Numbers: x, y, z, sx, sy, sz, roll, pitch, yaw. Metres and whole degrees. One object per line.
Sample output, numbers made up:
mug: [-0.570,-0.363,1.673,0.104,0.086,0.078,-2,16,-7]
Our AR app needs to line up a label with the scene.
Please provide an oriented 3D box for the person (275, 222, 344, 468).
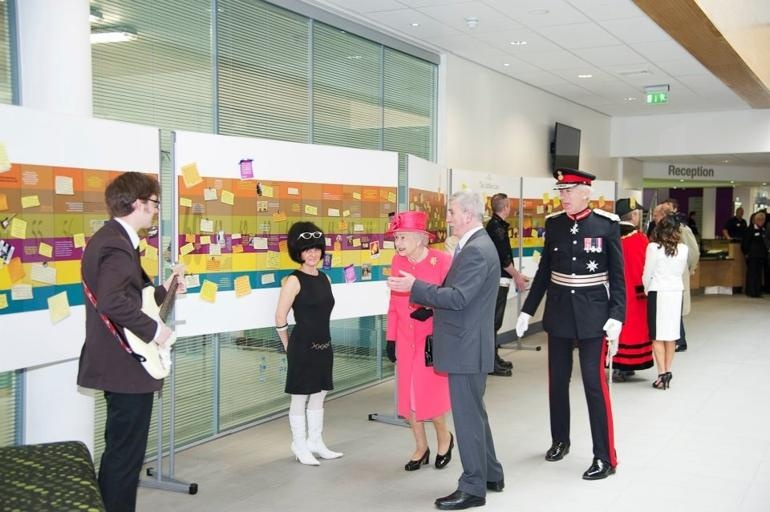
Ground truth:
person: [-0.657,0.740,4.751,0.421,2.077,0.502,1,4,24]

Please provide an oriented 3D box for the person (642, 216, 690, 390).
person: [3.437,0.542,6.795,0.426,2.106,0.382,-3,5,-35]

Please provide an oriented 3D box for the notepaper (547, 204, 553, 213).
notepaper: [2.538,-0.741,8.526,0.125,0.117,0.014,1,5,-39]

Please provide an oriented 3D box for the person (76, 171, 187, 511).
person: [-1.543,0.511,3.288,0.512,2.020,0.434,-3,5,-30]

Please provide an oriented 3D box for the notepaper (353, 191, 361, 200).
notepaper: [-0.273,-0.569,5.201,0.062,0.087,0.006,20,-15,-19]

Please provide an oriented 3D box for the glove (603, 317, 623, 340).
glove: [1.795,0.576,4.361,0.142,0.185,0.137,1,5,23]

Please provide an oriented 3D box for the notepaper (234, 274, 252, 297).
notepaper: [-1.166,0.246,4.539,0.145,0.148,0.048,-12,12,-37]

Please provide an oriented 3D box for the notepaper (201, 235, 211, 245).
notepaper: [-1.410,-0.126,4.336,0.069,0.064,0.018,-3,7,-35]

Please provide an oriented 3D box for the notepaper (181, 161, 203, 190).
notepaper: [-1.493,-0.621,4.238,0.170,0.181,0.026,-34,18,-36]

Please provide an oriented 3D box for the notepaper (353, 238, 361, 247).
notepaper: [-0.274,-0.125,5.250,0.065,0.062,0.017,-1,2,-27]

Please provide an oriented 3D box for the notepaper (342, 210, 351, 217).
notepaper: [-0.356,-0.398,5.154,0.069,0.062,0.016,3,4,-32]

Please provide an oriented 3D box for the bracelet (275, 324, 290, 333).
bracelet: [-0.873,0.595,4.606,0.143,0.047,0.145,0,5,17]

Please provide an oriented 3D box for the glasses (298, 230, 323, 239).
glasses: [-0.616,-0.176,4.599,0.214,0.066,0.053,-3,5,-27]

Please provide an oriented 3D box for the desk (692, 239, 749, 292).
desk: [9.126,0.249,15.234,0.919,1.166,1.266,-10,2,-27]

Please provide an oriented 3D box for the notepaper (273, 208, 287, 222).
notepaper: [-0.907,-0.351,4.720,0.119,0.109,0.021,-3,1,-41]

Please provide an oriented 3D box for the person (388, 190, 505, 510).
person: [0.528,0.686,4.020,0.844,2.298,0.429,-1,4,-8]

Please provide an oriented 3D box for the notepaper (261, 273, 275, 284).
notepaper: [-0.999,0.190,4.678,0.009,0.063,0.094,4,7,44]

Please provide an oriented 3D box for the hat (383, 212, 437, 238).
hat: [0.198,-0.258,4.284,0.283,0.145,0.276,-2,5,-26]

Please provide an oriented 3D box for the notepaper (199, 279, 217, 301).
notepaper: [-1.407,0.264,4.367,0.013,0.154,0.143,2,16,37]

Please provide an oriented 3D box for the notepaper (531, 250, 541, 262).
notepaper: [2.309,0.000,8.439,0.047,0.195,0.204,5,0,42]

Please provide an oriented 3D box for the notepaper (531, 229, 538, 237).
notepaper: [2.251,-0.353,8.376,0.094,0.103,0.018,26,-9,-41]

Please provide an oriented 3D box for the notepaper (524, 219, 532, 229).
notepaper: [2.144,-0.472,8.286,0.123,0.115,0.029,-14,12,-30]

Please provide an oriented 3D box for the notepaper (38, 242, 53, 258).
notepaper: [-2.188,-0.042,3.551,0.008,0.077,0.081,-14,-26,31]

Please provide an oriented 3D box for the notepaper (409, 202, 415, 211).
notepaper: [0.260,-0.496,5.497,0.047,0.080,0.087,-4,0,27]

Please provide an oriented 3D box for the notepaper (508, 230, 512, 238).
notepaper: [1.770,-0.316,7.868,0.018,0.128,0.135,-1,-4,30]

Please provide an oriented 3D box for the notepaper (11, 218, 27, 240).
notepaper: [-2.279,-0.172,3.435,0.024,0.100,0.100,3,-1,19]

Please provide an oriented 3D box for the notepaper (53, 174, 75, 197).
notepaper: [-2.115,-0.465,3.628,0.016,0.146,0.143,-9,-11,42]

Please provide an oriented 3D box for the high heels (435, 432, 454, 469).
high heels: [0.500,1.684,4.732,0.130,0.332,0.119,23,-11,-30]

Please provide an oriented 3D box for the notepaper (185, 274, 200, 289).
notepaper: [-1.483,0.189,4.225,0.018,0.116,0.118,-3,3,38]

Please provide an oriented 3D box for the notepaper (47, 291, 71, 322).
notepaper: [-2.137,0.327,3.605,0.018,0.214,0.189,-8,2,28]

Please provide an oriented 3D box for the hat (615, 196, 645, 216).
hat: [3.022,-0.615,6.788,0.373,0.183,0.262,-16,18,-11]

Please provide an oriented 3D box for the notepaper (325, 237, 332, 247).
notepaper: [-0.521,-0.130,5.034,0.012,0.063,0.090,-1,0,30]

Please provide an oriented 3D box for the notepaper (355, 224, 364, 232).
notepaper: [-0.237,-0.269,5.233,0.092,0.061,0.021,0,2,-27]

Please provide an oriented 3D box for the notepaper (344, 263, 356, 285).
notepaper: [-0.338,0.166,5.189,0.027,0.176,0.203,-3,-3,35]

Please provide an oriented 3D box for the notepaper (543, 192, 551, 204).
notepaper: [2.468,-0.891,8.472,0.018,0.118,0.158,6,-9,42]

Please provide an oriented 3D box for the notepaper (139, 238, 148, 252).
notepaper: [-1.748,-0.076,3.984,0.011,0.109,0.087,-3,-9,27]

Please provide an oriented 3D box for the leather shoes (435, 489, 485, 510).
leather shoes: [0.532,1.742,4.046,0.364,0.145,0.144,3,-5,-12]

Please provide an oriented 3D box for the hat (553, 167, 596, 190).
hat: [1.573,-0.636,4.543,0.246,0.097,0.212,-4,4,-27]

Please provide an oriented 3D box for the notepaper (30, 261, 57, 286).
notepaper: [-2.198,0.108,3.539,0.017,0.132,0.161,-5,-5,27]

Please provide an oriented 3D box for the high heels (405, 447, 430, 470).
high heels: [0.280,1.737,4.742,0.298,0.185,0.096,5,-8,-40]

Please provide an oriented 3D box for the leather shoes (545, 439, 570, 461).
leather shoes: [1.514,1.701,4.844,0.105,0.108,0.260,-4,-8,37]

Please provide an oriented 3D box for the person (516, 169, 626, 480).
person: [1.568,0.531,4.611,0.795,2.494,0.456,1,4,25]

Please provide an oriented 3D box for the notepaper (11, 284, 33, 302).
notepaper: [-2.275,0.229,3.450,0.015,0.097,0.113,3,6,40]

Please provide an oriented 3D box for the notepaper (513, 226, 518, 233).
notepaper: [1.933,-0.374,8.177,0.069,0.088,0.095,-16,41,-6]

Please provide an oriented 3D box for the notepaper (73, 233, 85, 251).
notepaper: [-2.049,-0.094,3.704,0.026,0.097,0.099,-5,2,31]

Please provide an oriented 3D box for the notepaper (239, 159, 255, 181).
notepaper: [-1.137,-0.703,4.501,0.176,0.235,0.025,-7,8,-39]

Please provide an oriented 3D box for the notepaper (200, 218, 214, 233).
notepaper: [-1.405,-0.244,4.331,0.010,0.118,0.121,21,12,42]

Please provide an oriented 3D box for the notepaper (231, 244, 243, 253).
notepaper: [-1.196,-0.064,4.499,0.083,0.056,0.029,-9,-2,-35]

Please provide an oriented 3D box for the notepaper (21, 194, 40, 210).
notepaper: [-2.245,-0.341,3.483,0.014,0.070,0.100,-2,2,36]

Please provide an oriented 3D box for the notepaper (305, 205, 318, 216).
notepaper: [-0.659,-0.407,4.907,0.132,0.087,0.008,-4,6,-43]

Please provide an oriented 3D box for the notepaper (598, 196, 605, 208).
notepaper: [3.464,-0.865,8.879,0.157,0.165,0.053,-3,-7,-12]

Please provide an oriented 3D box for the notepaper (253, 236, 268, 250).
notepaper: [-1.054,-0.115,4.629,0.113,0.086,0.015,-6,7,-42]

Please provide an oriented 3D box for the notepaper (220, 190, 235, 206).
notepaper: [-1.252,-0.477,4.403,0.099,0.097,0.023,8,-1,-38]

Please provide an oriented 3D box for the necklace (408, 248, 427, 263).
necklace: [0.258,-0.004,4.309,0.107,0.101,0.138,-2,-5,33]

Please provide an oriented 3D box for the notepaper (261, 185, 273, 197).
notepaper: [-0.966,-0.544,4.609,0.088,0.087,0.021,-4,2,-39]

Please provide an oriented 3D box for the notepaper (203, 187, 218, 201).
notepaper: [-1.374,-0.489,4.328,0.112,0.110,0.019,-5,7,-37]

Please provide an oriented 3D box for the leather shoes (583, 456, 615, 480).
leather shoes: [1.740,1.718,4.496,0.286,0.127,0.126,8,-11,-40]

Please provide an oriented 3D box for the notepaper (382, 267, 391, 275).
notepaper: [0.012,0.145,5.457,0.070,0.063,0.016,3,-6,-37]
